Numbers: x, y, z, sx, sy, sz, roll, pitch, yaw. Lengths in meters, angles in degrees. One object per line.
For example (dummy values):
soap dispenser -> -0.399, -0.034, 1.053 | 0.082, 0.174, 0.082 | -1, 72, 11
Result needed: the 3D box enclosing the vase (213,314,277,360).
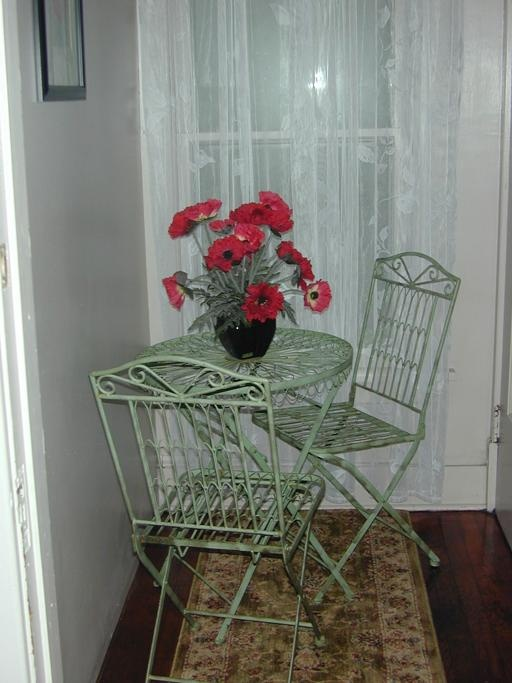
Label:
vase -> -0.027, -0.009, 1.776 | 0.161, 0.124, 0.132 | -4, 13, -11
